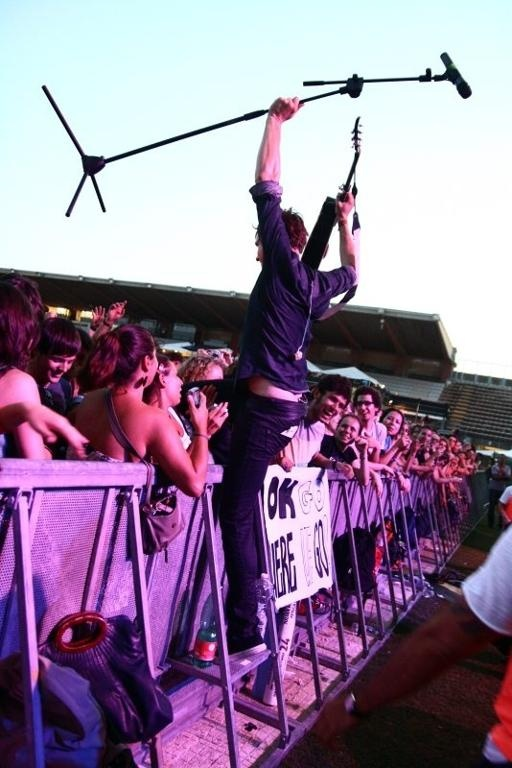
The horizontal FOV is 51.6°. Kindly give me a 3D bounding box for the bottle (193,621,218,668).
[{"bbox_3d":[-0.228,1.196,2.423,0.105,0.199,0.106,7,-1,0],"label":"bottle"}]

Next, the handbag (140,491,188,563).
[{"bbox_3d":[-0.348,0.522,1.968,0.140,0.242,0.221,7,-1,-3],"label":"handbag"}]

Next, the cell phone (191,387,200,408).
[{"bbox_3d":[-0.285,0.068,2.501,0.023,0.090,0.092,7,6,7],"label":"cell phone"}]

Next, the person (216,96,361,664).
[{"bbox_3d":[0.069,-0.022,2.638,0.456,2.711,0.786,6,-1,38],"label":"person"}]
